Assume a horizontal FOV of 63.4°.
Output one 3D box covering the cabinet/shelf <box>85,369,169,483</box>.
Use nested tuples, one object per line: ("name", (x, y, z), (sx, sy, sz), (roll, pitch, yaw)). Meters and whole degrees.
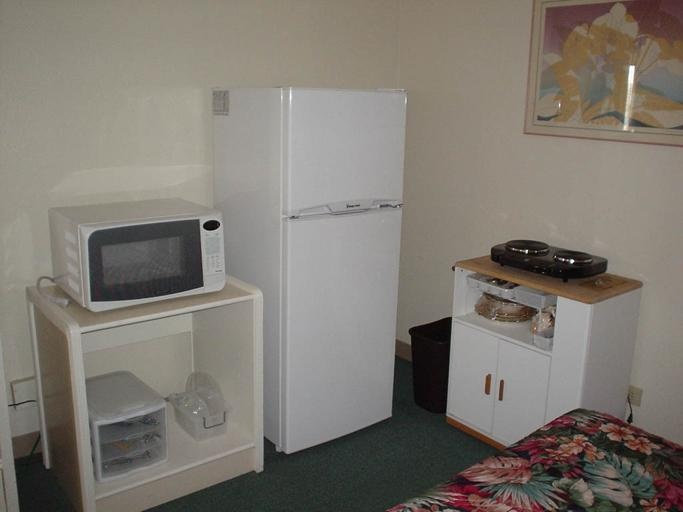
("cabinet/shelf", (-0.997, 0.753, 2.555), (0.296, 0.308, 0.438), (-6, 14, -33))

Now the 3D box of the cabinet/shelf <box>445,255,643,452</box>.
("cabinet/shelf", (0.993, 0.453, 2.616), (0.512, 0.964, 0.831), (-5, 12, -33))

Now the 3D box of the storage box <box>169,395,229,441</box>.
("storage box", (-0.724, 0.766, 2.760), (0.162, 0.108, 0.247), (-12, 26, -37))

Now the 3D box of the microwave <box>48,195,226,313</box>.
("microwave", (-0.956, -0.163, 2.400), (0.654, 0.386, 0.489), (-11, 18, -41))
